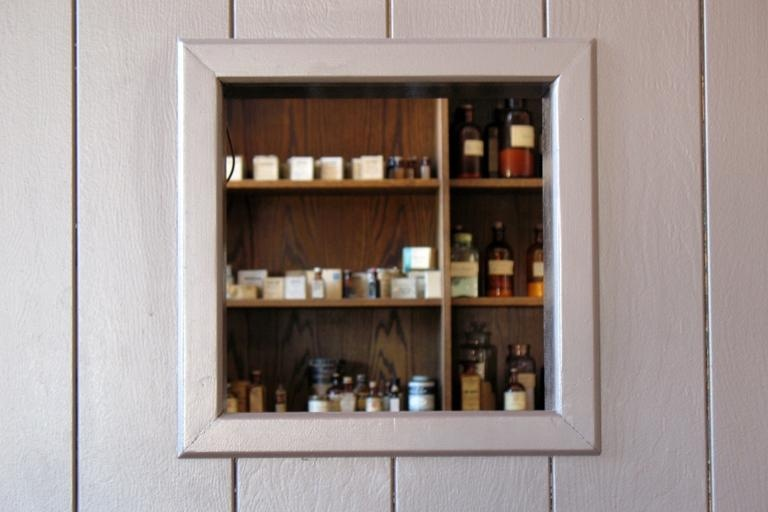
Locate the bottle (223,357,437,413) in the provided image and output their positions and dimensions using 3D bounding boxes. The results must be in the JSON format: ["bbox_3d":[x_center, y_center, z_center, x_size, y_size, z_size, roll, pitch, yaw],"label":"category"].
[{"bbox_3d":[-0.107,0.263,1.958,0.434,0.084,0.044,-2,-1,-2],"label":"bottle"}]

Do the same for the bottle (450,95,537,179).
[{"bbox_3d":[0.236,-0.255,1.999,0.148,0.162,0.055,0,4,7],"label":"bottle"}]

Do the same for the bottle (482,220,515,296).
[{"bbox_3d":[0.239,0.007,1.979,0.062,0.130,0.021,-2,-1,8],"label":"bottle"}]

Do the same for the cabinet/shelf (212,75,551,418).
[{"bbox_3d":[-0.010,-0.006,1.979,0.587,0.627,0.206,0,-6,-1],"label":"cabinet/shelf"}]

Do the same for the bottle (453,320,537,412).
[{"bbox_3d":[0.228,0.222,1.953,0.165,0.151,0.037,-2,-1,9],"label":"bottle"}]
